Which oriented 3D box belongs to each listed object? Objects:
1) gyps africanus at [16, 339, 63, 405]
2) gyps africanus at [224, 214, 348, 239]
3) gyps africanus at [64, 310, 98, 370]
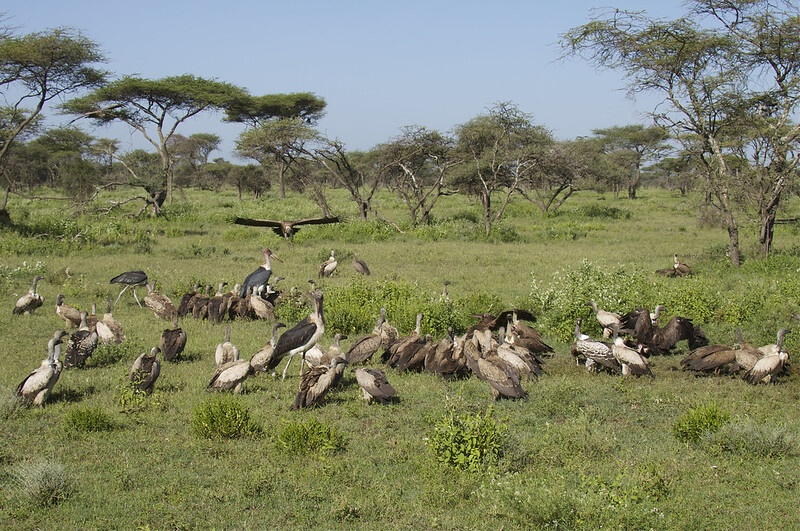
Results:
[{"bbox_3d":[-10.392,3.052,29.497,1.217,2.022,0.515,-2,3,-18],"label":"gyps africanus"},{"bbox_3d":[-4.704,-1.530,42.921,3.747,0.911,13.446,-1,3,-7],"label":"gyps africanus"},{"bbox_3d":[-9.773,2.285,31.209,1.006,1.675,0.732,-2,3,-32],"label":"gyps africanus"}]
